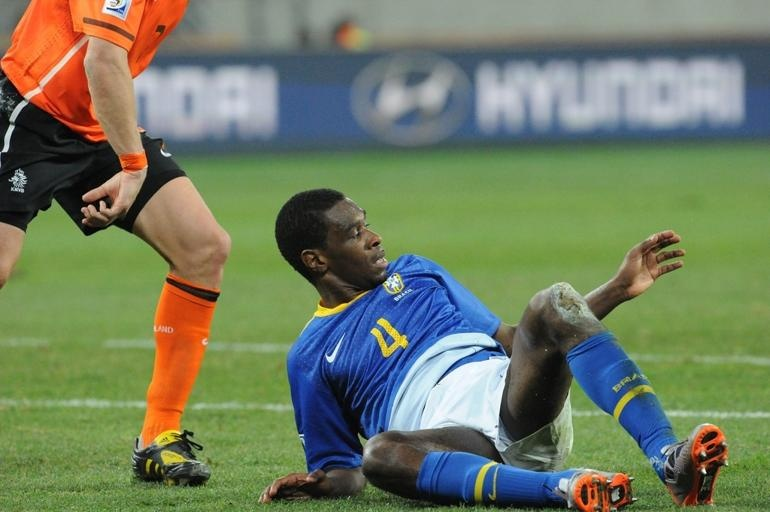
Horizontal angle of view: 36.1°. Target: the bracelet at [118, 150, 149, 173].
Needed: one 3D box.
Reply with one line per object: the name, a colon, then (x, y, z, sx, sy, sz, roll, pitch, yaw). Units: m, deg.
bracelet: (-1.614, -0.600, 7.604, 0.138, 0.101, 0.144, -2, -1, 3)
